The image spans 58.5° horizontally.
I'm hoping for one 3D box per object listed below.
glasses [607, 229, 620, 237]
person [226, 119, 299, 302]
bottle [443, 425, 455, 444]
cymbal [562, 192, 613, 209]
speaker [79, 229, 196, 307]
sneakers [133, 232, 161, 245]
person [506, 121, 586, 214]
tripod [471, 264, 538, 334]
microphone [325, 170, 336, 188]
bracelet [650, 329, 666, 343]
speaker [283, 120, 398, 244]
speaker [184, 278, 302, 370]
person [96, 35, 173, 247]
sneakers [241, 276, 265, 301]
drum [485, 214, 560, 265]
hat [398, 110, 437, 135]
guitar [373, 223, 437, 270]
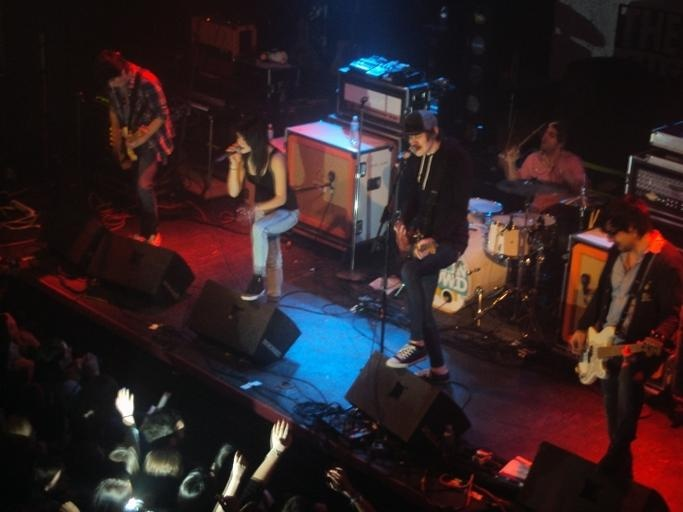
[{"bbox_3d":[1.948,-0.164,4.377,0.053,0.043,0.051,5,21,19],"label":"glasses"},{"bbox_3d":[-0.857,-0.408,6.157,0.665,1.853,0.631,16,21,36],"label":"person"},{"bbox_3d":[0.840,1.389,4.761,0.082,0.126,0.069,3,17,-1],"label":"bottle"},{"bbox_3d":[2.710,-0.623,6.711,0.328,0.081,0.342,-8,28,0],"label":"cymbal"},{"bbox_3d":[-2.269,0.123,6.877,1.016,0.642,0.756,14,25,24],"label":"speaker"},{"bbox_3d":[-2.290,-0.207,7.160,0.218,0.125,0.128,7,13,-5],"label":"sneakers"},{"bbox_3d":[2.610,-1.091,7.668,0.635,1.023,1.074,-20,33,-33],"label":"person"},{"bbox_3d":[1.749,0.483,6.619,0.434,0.598,0.409,-16,34,-36],"label":"tripod"},{"bbox_3d":[-0.145,-0.988,7.809,0.145,0.212,0.049,20,27,31],"label":"microphone"},{"bbox_3d":[2.214,0.548,4.236,0.076,0.027,0.056,19,54,34],"label":"bracelet"},{"bbox_3d":[-0.109,-0.987,8.053,1.324,1.308,0.810,24,30,36],"label":"speaker"},{"bbox_3d":[-1.019,0.639,5.943,0.798,0.568,0.606,20,23,23],"label":"speaker"},{"bbox_3d":[-2.360,-1.226,7.126,0.746,2.197,0.560,-3,18,-19],"label":"person"},{"bbox_3d":[-0.905,0.330,5.980,0.118,0.165,0.368,5,6,20],"label":"sneakers"},{"bbox_3d":[1.899,-0.260,6.465,0.702,0.503,0.928,5,10,29],"label":"drum"},{"bbox_3d":[0.660,-1.109,5.054,0.251,0.151,0.194,-3,22,2],"label":"hat"},{"bbox_3d":[0.521,-0.166,5.488,0.439,0.432,0.321,-11,7,-15],"label":"guitar"}]
